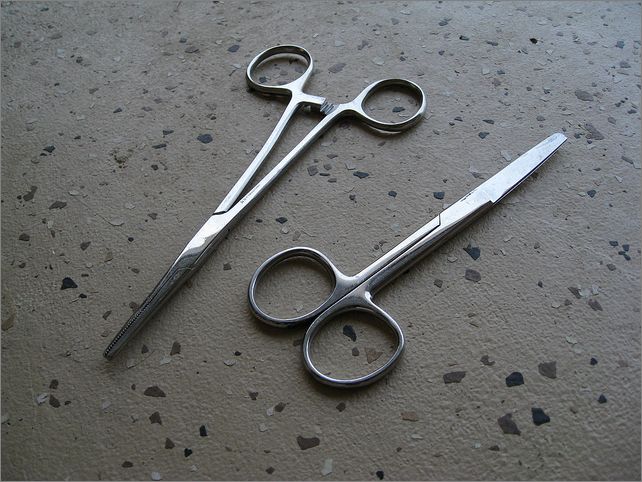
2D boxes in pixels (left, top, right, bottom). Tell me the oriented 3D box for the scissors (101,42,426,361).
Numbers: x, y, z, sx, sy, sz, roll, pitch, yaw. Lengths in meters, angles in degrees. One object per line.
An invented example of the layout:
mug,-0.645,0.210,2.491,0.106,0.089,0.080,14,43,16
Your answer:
scissors,-0.093,-0.064,1.100,0.306,0.029,0.595,31,60,24
